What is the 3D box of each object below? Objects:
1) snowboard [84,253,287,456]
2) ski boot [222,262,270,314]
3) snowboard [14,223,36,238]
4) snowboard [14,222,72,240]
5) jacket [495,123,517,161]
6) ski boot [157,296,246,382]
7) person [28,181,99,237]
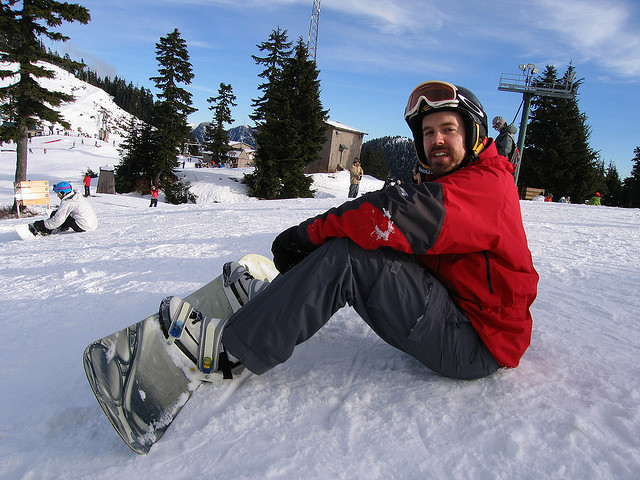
[{"bbox_3d":[-0.852,0.708,2.770,0.263,0.577,1.895,-27,0,16],"label":"snowboard"},{"bbox_3d":[-0.497,0.319,2.714,0.293,0.250,0.496,-2,14,-22],"label":"ski boot"},{"bbox_3d":[-5.640,-0.169,8.008,0.388,0.218,0.277,9,14,44],"label":"snowboard"},{"bbox_3d":[-5.620,-0.159,8.029,0.403,0.283,0.341,6,12,36],"label":"snowboard"},{"bbox_3d":[3.727,-2.037,8.484,0.342,0.673,0.706,-1,40,17],"label":"jacket"},{"bbox_3d":[-0.681,0.593,2.361,0.494,0.383,0.188,33,-40,-18],"label":"ski boot"},{"bbox_3d":[-5.122,-0.690,8.425,1.174,1.011,0.980,1,19,-14],"label":"person"}]
